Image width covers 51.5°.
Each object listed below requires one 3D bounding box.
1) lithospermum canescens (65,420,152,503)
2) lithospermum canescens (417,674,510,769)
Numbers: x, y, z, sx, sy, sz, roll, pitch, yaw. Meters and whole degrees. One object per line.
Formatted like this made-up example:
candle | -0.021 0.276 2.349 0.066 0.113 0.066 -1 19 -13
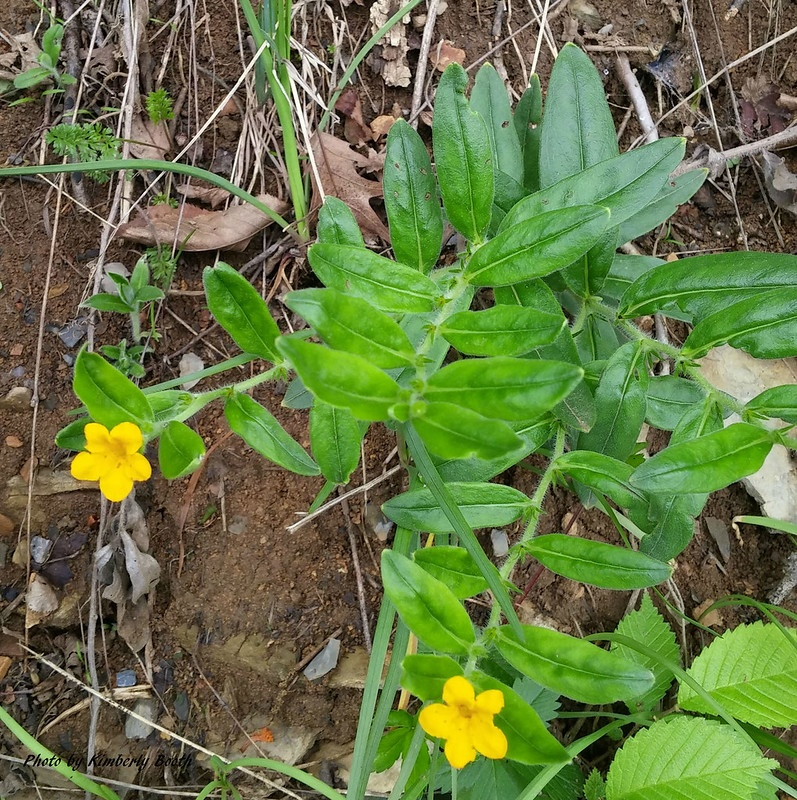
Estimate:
lithospermum canescens | -0.630 0.117 1.815 0.184 0.053 0.186 -21 38 16
lithospermum canescens | 0.155 0.688 1.750 0.157 0.162 0.180 -40 70 -22
